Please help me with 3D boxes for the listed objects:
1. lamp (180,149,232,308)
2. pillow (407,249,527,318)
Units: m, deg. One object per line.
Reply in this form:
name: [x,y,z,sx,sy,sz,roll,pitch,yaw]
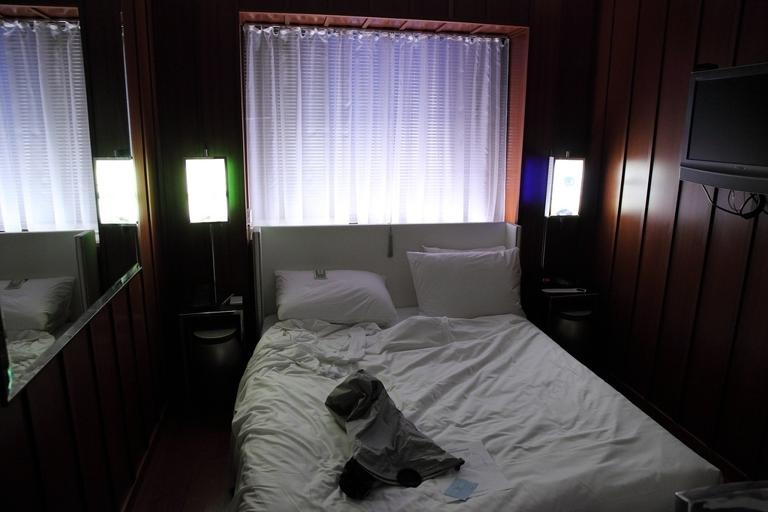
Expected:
lamp: [-1.250,-0.197,3.925,0.273,1.106,0.292,-5,13,-17]
pillow: [0.620,0.216,4.134,0.509,0.338,0.170,-4,-27,-5]
